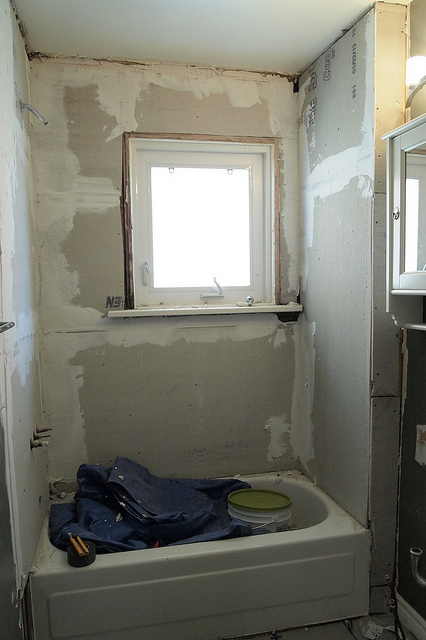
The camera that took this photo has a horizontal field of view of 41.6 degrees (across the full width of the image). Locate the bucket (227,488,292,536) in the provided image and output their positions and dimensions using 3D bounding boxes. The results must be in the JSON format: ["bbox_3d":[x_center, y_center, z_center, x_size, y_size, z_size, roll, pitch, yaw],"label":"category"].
[{"bbox_3d":[0.168,0.718,2.230,0.260,0.155,0.271,3,4,0],"label":"bucket"}]

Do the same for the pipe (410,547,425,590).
[{"bbox_3d":[0.680,0.825,1.861,0.041,0.174,0.129,0,7,21],"label":"pipe"}]

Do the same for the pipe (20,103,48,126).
[{"bbox_3d":[-0.680,-0.781,2.123,0.090,0.087,0.232,-5,7,-17],"label":"pipe"}]
